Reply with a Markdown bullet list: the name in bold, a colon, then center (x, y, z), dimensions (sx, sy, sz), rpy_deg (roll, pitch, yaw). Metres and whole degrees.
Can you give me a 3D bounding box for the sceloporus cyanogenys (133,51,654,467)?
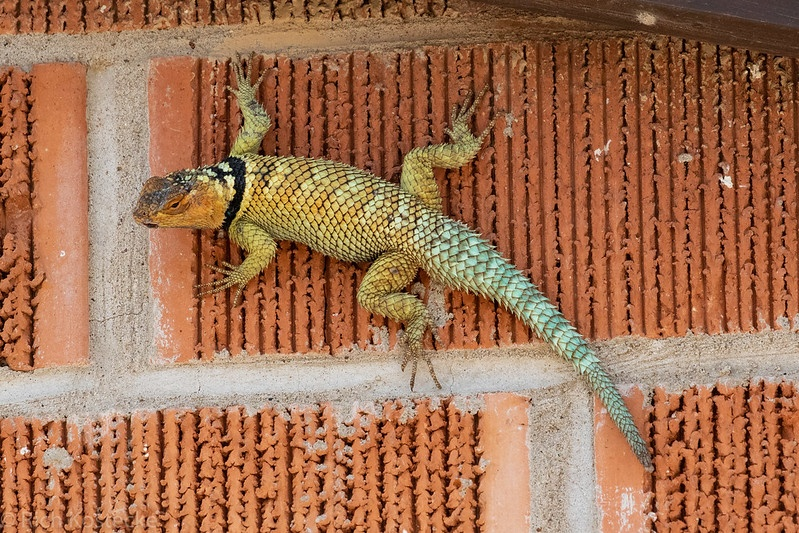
- **sceloporus cyanogenys**: center (-0.015, -0.087, 3.768), dimensions (1.248, 0.706, 0.292), rpy_deg (10, 19, 4)
